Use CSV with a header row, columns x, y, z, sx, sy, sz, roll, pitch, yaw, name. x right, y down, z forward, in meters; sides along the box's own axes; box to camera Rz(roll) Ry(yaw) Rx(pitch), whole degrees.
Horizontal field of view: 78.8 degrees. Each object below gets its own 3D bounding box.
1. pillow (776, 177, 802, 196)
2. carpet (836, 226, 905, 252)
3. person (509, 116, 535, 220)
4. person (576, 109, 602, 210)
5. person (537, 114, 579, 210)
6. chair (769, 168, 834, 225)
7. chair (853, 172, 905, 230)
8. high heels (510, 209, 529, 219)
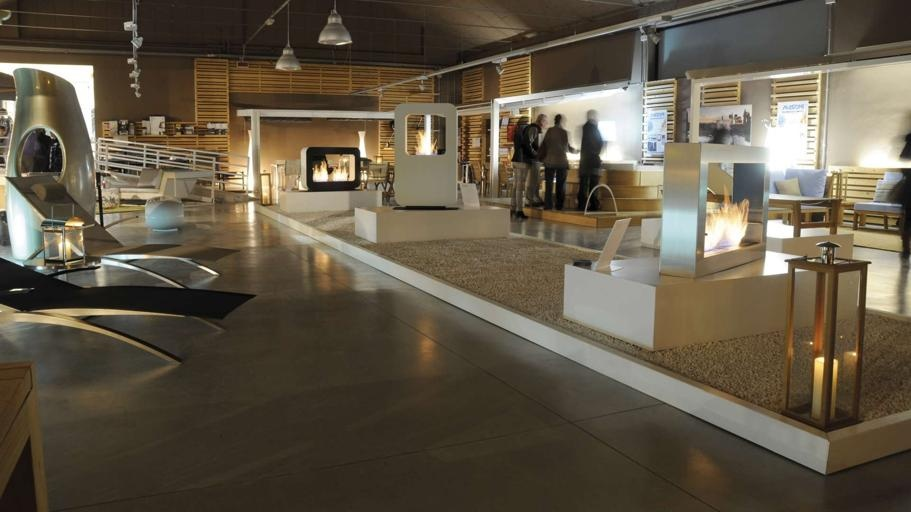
x,y,z,sx,sy,sz,roll,pitch,yaw,name
6.756,-1.391,11.206,0.429,0.489,0.198,-4,-23,43,pillow
6.987,-0.248,9.121,0.506,0.252,0.831,-4,14,-18,carpet
1.521,-2.027,12.676,0.488,2.226,1.103,2,14,6,person
2.994,-2.085,12.266,0.490,2.210,0.833,3,14,12,person
2.228,-2.102,12.555,0.639,2.113,1.117,5,14,17,person
7.237,-1.195,11.349,1.209,1.056,1.194,-3,6,-28,chair
7.790,-1.018,10.230,0.653,0.964,1.548,10,16,34,chair
1.459,-0.946,12.792,0.174,0.194,0.487,-1,0,-19,high heels
